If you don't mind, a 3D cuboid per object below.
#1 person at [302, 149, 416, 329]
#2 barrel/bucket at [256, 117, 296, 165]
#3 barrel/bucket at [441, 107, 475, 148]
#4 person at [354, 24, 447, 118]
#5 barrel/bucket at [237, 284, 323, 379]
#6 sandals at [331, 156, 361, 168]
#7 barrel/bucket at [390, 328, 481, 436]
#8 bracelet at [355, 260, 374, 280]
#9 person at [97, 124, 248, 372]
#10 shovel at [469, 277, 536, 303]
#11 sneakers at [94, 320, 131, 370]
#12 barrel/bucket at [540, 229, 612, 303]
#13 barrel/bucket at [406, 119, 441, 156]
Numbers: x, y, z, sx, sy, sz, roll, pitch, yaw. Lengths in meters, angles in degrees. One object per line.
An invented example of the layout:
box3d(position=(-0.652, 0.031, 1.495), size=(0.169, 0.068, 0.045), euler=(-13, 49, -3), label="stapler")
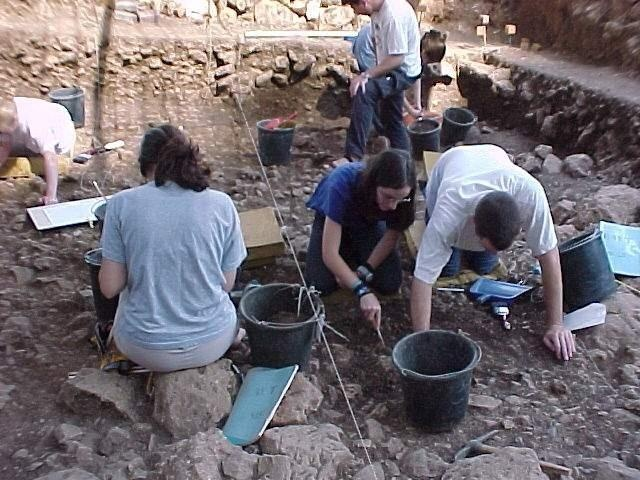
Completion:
box3d(position=(0.245, -0.086, 3.592), size=(0.770, 1.169, 0.671), euler=(22, 37, 26), label="person")
box3d(position=(-0.381, -0.968, 5.379), size=(0.394, 0.437, 0.402), euler=(2, 33, -1), label="barrel/bucket")
box3d(position=(1.406, -1.132, 5.644), size=(0.282, 0.396, 0.415), euler=(-7, 34, -15), label="barrel/bucket")
box3d(position=(1.066, -2.010, 6.359), size=(0.927, 0.344, 0.856), euler=(-3, -5, 23), label="person")
box3d(position=(-0.231, 0.544, 3.374), size=(0.523, 0.441, 0.475), euler=(2, 25, -1), label="barrel/bucket")
box3d(position=(0.221, -0.728, 5.050), size=(0.240, 0.122, 0.327), euler=(-15, 5, 8), label="sandals")
box3d(position=(0.601, 0.809, 3.173), size=(0.550, 0.448, 0.531), euler=(-4, 33, 3), label="barrel/bucket")
box3d(position=(0.304, 0.197, 3.710), size=(0.089, 0.139, 0.124), euler=(0, 31, -27), label="bracelet")
box3d(position=(-0.795, 0.065, 3.200), size=(0.841, 1.253, 1.009), euler=(9, 11, 36), label="person")
box3d(position=(1.239, 0.349, 3.810), size=(0.305, 0.045, 0.184), euler=(4, 27, 9), label="shovel")
box3d(position=(-1.218, 0.629, 3.183), size=(0.140, 0.195, 0.413), euler=(-2, 60, -13), label="sneakers")
box3d(position=(1.745, 0.201, 3.783), size=(0.415, 0.450, 0.455), euler=(-22, 7, 3), label="barrel/bucket")
box3d(position=(1.098, -1.020, 5.530), size=(0.395, 0.398, 0.394), euler=(-4, 34, 3), label="barrel/bucket")
